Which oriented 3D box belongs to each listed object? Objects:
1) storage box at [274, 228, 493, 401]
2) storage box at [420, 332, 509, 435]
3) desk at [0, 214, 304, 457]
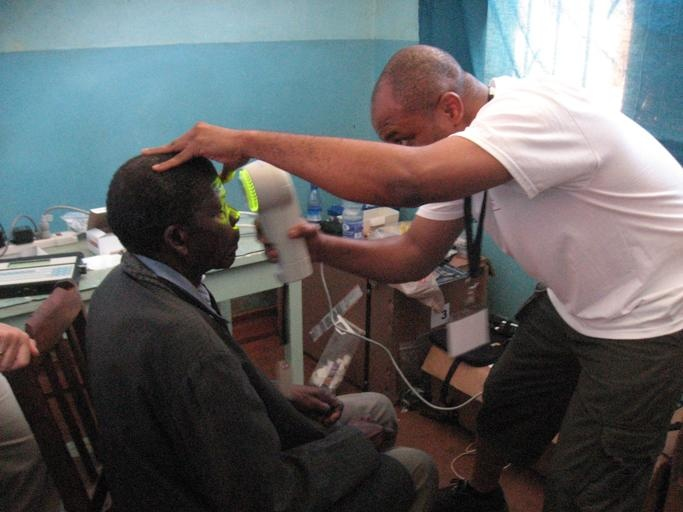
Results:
[{"bbox_3d":[0.215,0.267,2.319,0.394,0.506,0.725,-10,20,-30],"label":"storage box"},{"bbox_3d":[0.549,0.557,2.355,0.274,0.375,0.388,-15,26,-32],"label":"storage box"},{"bbox_3d":[-0.798,0.414,2.637,0.837,1.119,1.325,-13,27,-27],"label":"desk"}]
